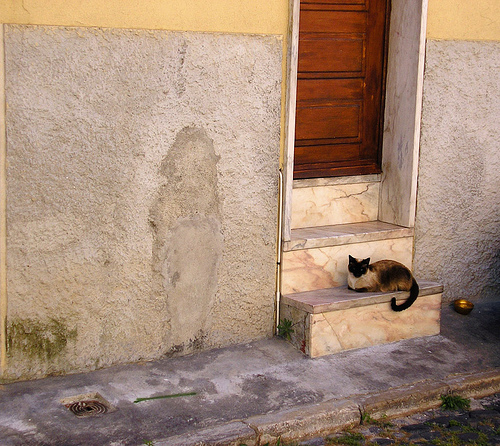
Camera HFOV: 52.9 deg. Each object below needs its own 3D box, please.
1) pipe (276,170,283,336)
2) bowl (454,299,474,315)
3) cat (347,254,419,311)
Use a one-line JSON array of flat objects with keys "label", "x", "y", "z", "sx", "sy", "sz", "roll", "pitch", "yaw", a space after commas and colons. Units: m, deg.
[{"label": "pipe", "x": 0.270, "y": 0.238, "z": 4.493, "sx": 0.058, "sy": 1.397, "sz": 0.087, "roll": -4, "pitch": 6, "yaw": -26}, {"label": "bowl", "x": 2.231, "y": 0.864, "z": 5.223, "sx": 0.166, "sy": 0.094, "sz": 0.159, "roll": 2, "pitch": 1, "yaw": 0}, {"label": "cat", "x": 1.241, "y": 0.489, "z": 4.644, "sx": 0.765, "sy": 0.328, "sz": 0.531, "roll": 8, "pitch": 21, "yaw": -3}]
